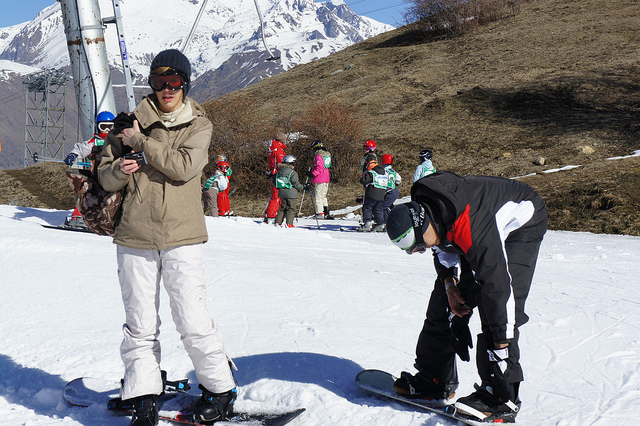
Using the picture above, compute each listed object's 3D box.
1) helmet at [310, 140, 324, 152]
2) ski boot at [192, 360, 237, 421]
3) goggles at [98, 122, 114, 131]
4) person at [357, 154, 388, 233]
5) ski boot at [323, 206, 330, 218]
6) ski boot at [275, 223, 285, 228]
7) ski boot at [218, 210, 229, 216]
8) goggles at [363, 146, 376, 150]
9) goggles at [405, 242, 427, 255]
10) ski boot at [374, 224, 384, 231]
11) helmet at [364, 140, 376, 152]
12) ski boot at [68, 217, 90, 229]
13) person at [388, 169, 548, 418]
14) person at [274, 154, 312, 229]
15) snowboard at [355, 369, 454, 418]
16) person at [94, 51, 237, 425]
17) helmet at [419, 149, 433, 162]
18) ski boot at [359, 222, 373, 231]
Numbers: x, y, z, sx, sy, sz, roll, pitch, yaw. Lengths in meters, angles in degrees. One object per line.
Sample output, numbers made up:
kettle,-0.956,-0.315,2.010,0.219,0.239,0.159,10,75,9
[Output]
helmet,-0.116,-2.055,16.817,0.392,0.232,0.563,-8,2,-12
ski boot,-1.077,1.965,5.657,0.213,0.270,0.580,-1,-2,10
goggles,-2.284,-0.917,5.839,0.152,0.072,0.175,-2,-1,-22
person,1.383,-0.361,14.300,0.754,1.715,0.508,-1,8,6
ski boot,0.179,-0.034,17.138,0.170,0.369,0.292,-2,8,-1
ski boot,-1.059,0.328,14.016,0.078,0.098,0.247,-11,9,-35
ski boot,-2.957,0.007,16.770,0.277,0.128,0.451,-2,8,-1
goggles,1.338,-1.820,15.294,0.213,0.087,0.176,8,2,17
goggles,0.963,0.351,5.496,0.150,0.087,0.112,-17,10,-14
ski boot,1.534,0.390,14.281,0.245,0.166,0.070,-1,8,5
helmet,1.414,-1.919,15.401,0.442,0.379,0.349,7,5,7
ski boot,-4.351,0.195,9.846,0.249,0.112,0.336,8,-6,-25
person,1.567,0.851,5.678,1.512,2.552,0.632,-1,8,8
person,-0.865,-0.554,14.405,0.689,1.826,0.945,1,8,21
snowboard,0.803,1.928,6.043,1.298,0.136,0.360,12,24,27
person,-1.563,0.272,5.543,1.137,3.770,0.663,-4,8,-19
helmet,2.785,-1.509,14.480,0.274,0.294,0.381,-1,8,7
ski boot,1.205,0.351,14.394,0.359,0.232,0.255,-3,8,-7
